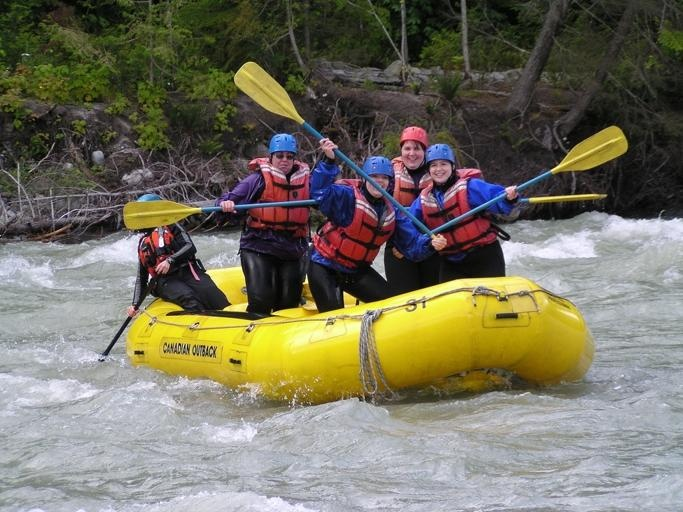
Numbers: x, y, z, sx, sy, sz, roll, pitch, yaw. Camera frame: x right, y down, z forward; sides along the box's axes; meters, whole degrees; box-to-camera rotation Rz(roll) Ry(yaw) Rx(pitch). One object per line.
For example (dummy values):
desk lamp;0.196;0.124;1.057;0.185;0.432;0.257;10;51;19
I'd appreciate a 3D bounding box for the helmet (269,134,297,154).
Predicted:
helmet;-0.545;-1.008;7.005;0.219;0.159;0.236;1;-6;-8

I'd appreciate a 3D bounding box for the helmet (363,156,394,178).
helmet;0.298;-0.736;6.467;0.208;0.218;0.180;5;60;-3

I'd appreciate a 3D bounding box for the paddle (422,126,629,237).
paddle;1.678;-0.614;7.273;2.265;0.150;0.308;-29;-1;44

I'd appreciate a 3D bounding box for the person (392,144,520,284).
person;1.015;-0.303;6.552;0.946;1.260;0.549;8;21;19

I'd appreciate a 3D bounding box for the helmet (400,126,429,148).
helmet;0.673;-1.095;7.071;0.242;0.126;0.271;4;11;4
